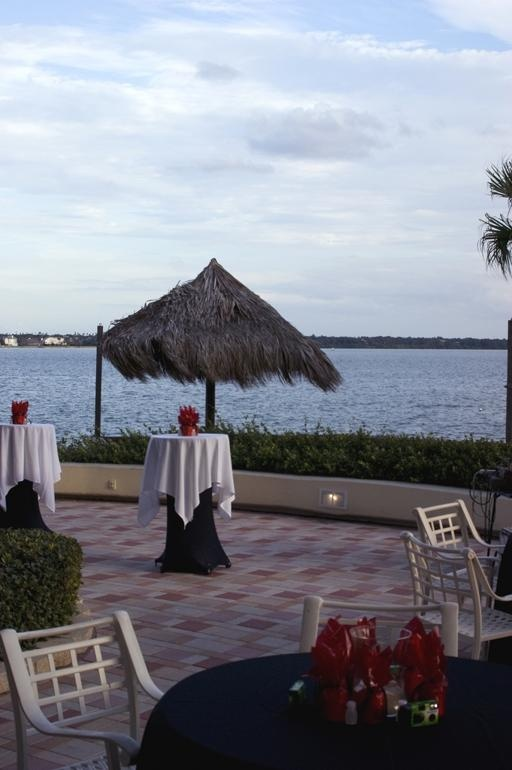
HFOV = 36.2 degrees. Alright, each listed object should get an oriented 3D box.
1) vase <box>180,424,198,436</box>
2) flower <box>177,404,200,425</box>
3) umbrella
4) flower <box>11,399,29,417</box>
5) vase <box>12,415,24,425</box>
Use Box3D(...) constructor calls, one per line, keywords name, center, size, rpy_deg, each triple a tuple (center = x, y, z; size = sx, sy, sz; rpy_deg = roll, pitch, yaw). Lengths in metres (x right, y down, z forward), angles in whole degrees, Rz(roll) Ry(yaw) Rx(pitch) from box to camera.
Box3D(name="vase", center=(-0.548, 0.366, 6.336), size=(0.096, 0.058, 0.095), rpy_deg=(0, 1, 5))
Box3D(name="flower", center=(-0.540, 0.249, 6.466), size=(0.162, 0.193, 0.159), rpy_deg=(1, -5, -22))
Box3D(name="umbrella", center=(-0.521, -0.641, 9.937), size=(2.756, 1.512, 0.954), rpy_deg=(-3, 6, -8))
Box3D(name="flower", center=(-2.316, 0.225, 7.664), size=(0.184, 0.211, 0.183), rpy_deg=(1, -4, -8))
Box3D(name="vase", center=(-2.296, 0.335, 7.601), size=(0.101, 0.073, 0.100), rpy_deg=(0, -2, -20))
